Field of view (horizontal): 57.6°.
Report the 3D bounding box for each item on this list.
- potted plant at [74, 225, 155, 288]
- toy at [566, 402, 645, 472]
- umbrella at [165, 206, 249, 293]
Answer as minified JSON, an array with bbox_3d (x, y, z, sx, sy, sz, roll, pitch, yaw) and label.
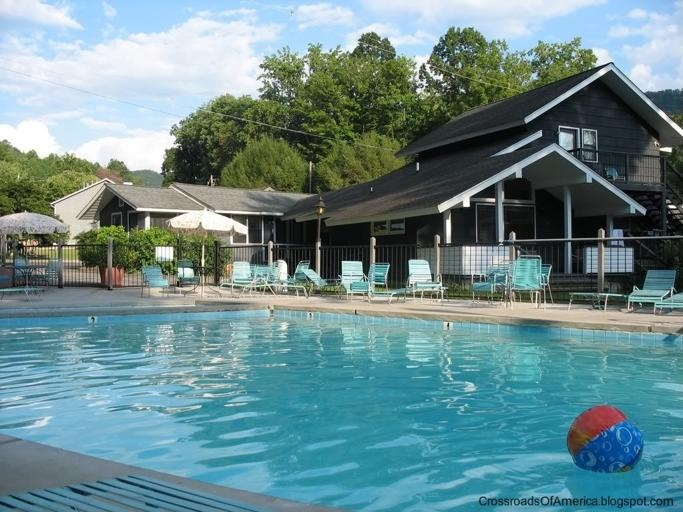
[{"bbox_3d":[-9.048,-0.132,24.592,2.642,2.842,3.355,-2,-1,39],"label":"potted plant"},{"bbox_3d":[2.917,2.039,7.046,0.673,0.612,0.814,0,1,2],"label":"toy"},{"bbox_3d":[-4.467,-0.473,20.463,2.237,2.136,2.165,1,1,18],"label":"umbrella"}]
